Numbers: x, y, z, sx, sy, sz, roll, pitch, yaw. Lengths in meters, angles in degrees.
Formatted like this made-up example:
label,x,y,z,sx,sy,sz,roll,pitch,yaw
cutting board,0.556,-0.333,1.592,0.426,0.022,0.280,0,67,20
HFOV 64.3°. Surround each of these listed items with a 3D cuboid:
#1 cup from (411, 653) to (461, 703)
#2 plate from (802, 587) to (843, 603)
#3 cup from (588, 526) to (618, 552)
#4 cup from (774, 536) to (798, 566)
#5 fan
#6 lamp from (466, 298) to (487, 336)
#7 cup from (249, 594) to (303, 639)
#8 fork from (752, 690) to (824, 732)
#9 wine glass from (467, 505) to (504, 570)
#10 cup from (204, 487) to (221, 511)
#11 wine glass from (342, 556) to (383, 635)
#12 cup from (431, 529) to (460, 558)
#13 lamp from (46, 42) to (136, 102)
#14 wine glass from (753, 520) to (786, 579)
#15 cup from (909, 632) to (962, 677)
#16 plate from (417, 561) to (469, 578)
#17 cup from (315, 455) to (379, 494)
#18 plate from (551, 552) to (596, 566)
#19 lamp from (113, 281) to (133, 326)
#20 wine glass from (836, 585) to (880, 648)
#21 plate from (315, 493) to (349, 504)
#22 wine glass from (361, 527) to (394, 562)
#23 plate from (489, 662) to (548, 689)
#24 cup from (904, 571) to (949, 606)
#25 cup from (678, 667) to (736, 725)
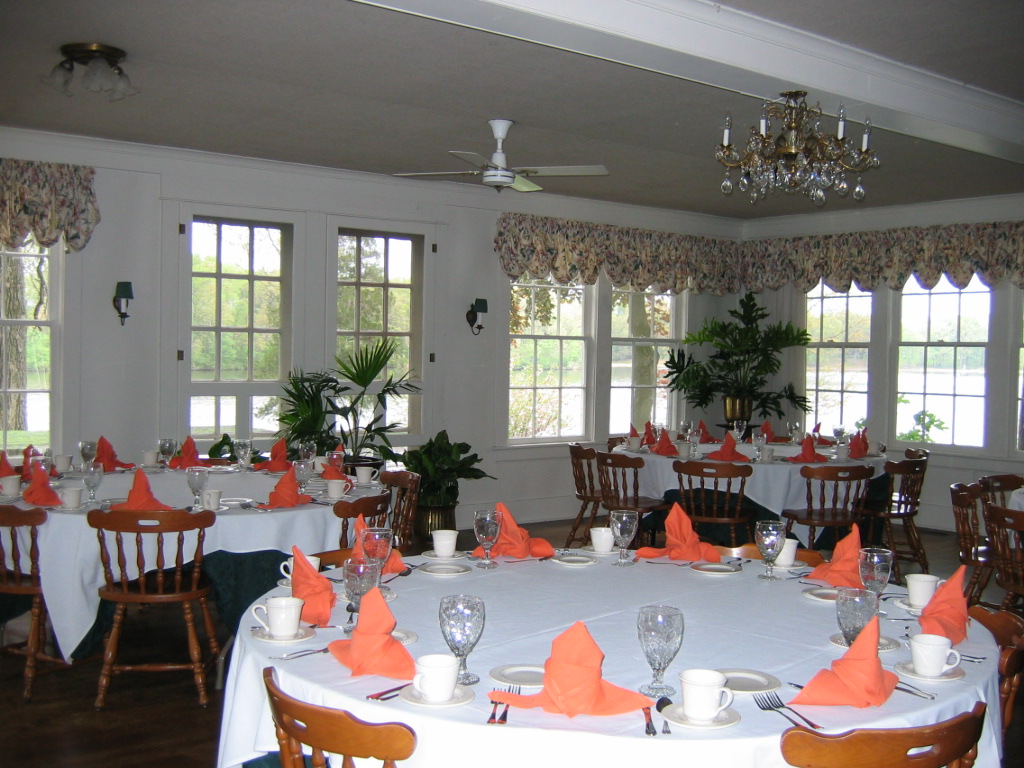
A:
label,x,y,z,sx,sy,sz,roll,pitch,yaw
cup,-0.180,0.692,1.910,0.086,0.075,0.109,-1,-6,5
plate,1.017,0.688,2.673,0.102,0.016,0.166,3,4,30
cup,0.352,0.607,3.187,0.090,0.089,0.097,-2,-2,0
cup,1.006,0.619,3.015,0.085,0.079,0.092,0,-6,0
fan,-0.104,-1.654,5.834,0.767,0.302,0.798,0,0,28
lamp,-0.311,-0.623,7.602,0.248,0.327,0.124,-2,5,-36
cup,-0.683,0.656,2.338,0.104,0.109,0.151,2,-5,-35
fork,0.632,0.768,1.906,0.040,0.024,0.151,-23,22,-19
wine glass,-0.094,0.561,3.028,0.085,0.196,0.223,1,4,-2
cup,-1.506,0.585,4.021,0.069,0.102,0.110,1,-3,-4
wine glass,-0.432,0.602,2.330,0.102,0.214,0.364,0,4,-10
cup,-0.258,0.603,3.070,0.083,0.101,0.106,1,4,0
lamp,-2.287,-1.709,4.421,0.318,0.165,0.317,-1,2,-38
wine glass,0.932,0.575,2.922,0.093,0.231,0.352,2,4,19
cup,1.083,0.689,2.092,0.117,0.086,0.098,4,4,41
plate,-0.250,0.657,2.914,0.189,0.016,0.224,0,4,-16
cup,-0.992,0.522,4.756,0.287,0.139,0.298,1,-4,0
plate,0.229,0.660,3.064,0.154,0.009,0.189,2,4,11
lamp,-2.961,-0.609,6.171,0.147,0.334,0.162,-1,5,-27
wine glass,0.945,0.642,2.225,0.092,0.171,0.173,3,4,26
plate,-0.957,0.593,4.283,0.182,0.029,0.249,0,4,-11
wine glass,-0.428,0.501,2.549,0.086,0.105,0.089,0,4,-6
plate,0.013,0.736,2.047,0.134,0.011,0.127,1,4,-4
cup,1.322,0.648,2.604,0.097,0.107,0.148,0,-6,6
cup,0.444,0.712,1.887,0.095,0.095,0.115,-2,7,-42
